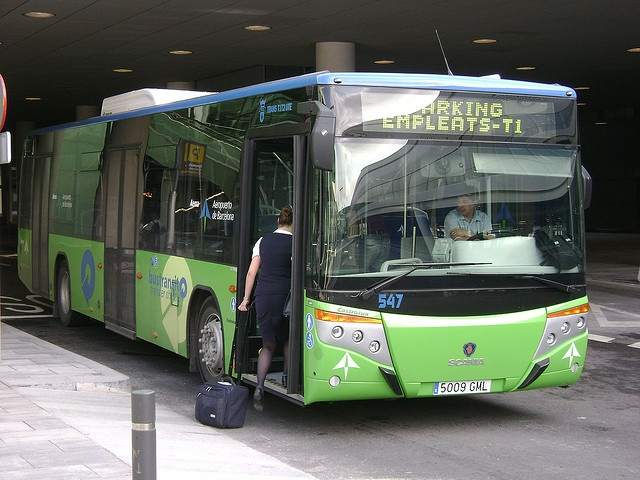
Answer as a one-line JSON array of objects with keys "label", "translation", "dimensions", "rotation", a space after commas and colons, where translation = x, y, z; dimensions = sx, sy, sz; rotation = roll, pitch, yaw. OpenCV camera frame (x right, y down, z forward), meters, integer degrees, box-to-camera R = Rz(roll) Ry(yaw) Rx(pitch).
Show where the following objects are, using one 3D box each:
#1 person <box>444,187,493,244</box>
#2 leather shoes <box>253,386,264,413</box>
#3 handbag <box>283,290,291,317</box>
[{"label": "person", "translation": [1.436, -0.230, 6.058], "dimensions": [0.501, 0.901, 0.483], "rotation": [-1, -2, 11]}, {"label": "leather shoes", "translation": [-0.626, 1.648, 6.110], "dimensions": [0.094, 0.275, 0.112], "rotation": [-1, 21, 2]}, {"label": "handbag", "translation": [-0.351, 0.680, 6.328], "dimensions": [0.044, 0.231, 0.162], "rotation": [6, 4, 2]}]
